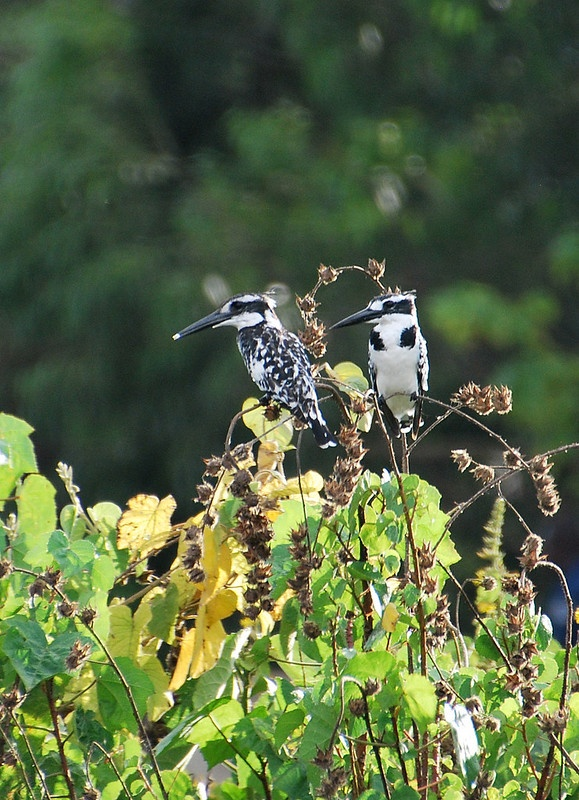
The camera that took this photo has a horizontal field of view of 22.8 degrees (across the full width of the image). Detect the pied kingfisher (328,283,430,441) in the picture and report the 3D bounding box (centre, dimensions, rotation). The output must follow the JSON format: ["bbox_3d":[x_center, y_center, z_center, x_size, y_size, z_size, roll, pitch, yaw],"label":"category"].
[{"bbox_3d":[0.321,-0.122,4.392,0.234,0.382,0.660,2,-1,17],"label":"pied kingfisher"}]

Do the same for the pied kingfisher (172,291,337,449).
[{"bbox_3d":[-0.094,-0.111,4.266,0.296,0.462,0.655,-24,21,1],"label":"pied kingfisher"}]
